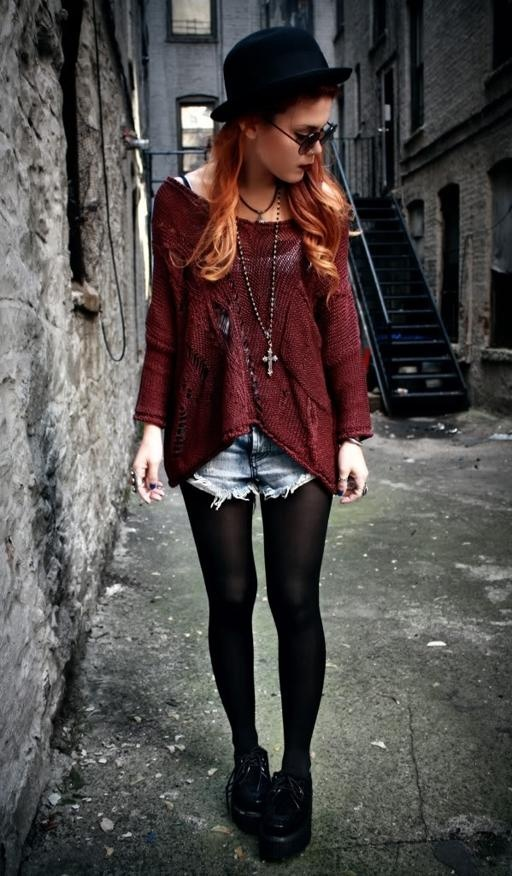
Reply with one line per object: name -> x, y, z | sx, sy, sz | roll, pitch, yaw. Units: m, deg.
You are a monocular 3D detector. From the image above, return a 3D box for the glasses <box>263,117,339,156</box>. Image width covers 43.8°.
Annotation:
glasses -> 0.085, -0.641, 1.346 | 0.110, 0.041, 0.116 | 2, 35, -51

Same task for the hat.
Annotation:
hat -> 0.031, -0.727, 1.283 | 0.197, 0.096, 0.187 | -23, 16, 7

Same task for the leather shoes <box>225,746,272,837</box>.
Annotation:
leather shoes -> -0.016, 0.818, 1.466 | 0.058, 0.094, 0.202 | -1, -2, 0

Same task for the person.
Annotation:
person -> -0.009, 0.032, 1.465 | 0.522, 1.758, 0.332 | 1, 5, 19
